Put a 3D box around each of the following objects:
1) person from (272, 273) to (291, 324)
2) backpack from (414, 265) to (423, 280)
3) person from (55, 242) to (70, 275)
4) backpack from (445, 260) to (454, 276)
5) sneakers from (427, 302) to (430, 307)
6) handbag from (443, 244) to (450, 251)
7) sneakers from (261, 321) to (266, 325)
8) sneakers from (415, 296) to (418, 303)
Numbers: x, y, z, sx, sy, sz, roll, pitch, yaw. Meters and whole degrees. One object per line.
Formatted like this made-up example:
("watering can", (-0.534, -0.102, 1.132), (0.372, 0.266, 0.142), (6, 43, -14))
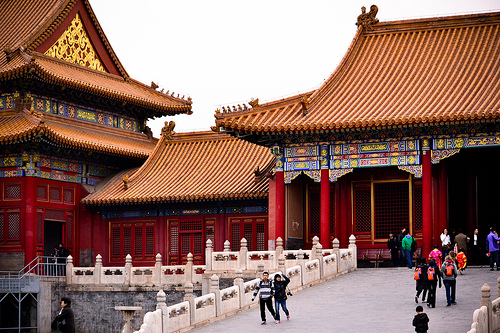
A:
("person", (1.121, 4.726, 34.009), (0.605, 1.770, 0.870), (-5, -13, 1))
("backpack", (6.044, 3.845, 34.269), (0.247, 0.515, 0.373), (-6, -13, 5))
("person", (-9.182, 4.636, 46.625), (0.702, 1.791, 0.843), (-12, -2, -8))
("backpack", (7.166, 3.698, 34.189), (0.341, 0.535, 0.322), (-7, -13, 11))
("sneakers", (6.423, 5.008, 34.336), (0.155, 0.148, 0.096), (-3, -8, 35))
("handbag", (8.225, 3.419, 39.910), (0.258, 0.184, 0.258), (1, -5, -43))
("sneakers", (0.470, 5.579, 33.766), (0.095, 0.093, 0.225), (-3, -11, 12))
("sneakers", (6.048, 4.864, 34.524), (0.115, 0.257, 0.106), (3, 12, 34))
